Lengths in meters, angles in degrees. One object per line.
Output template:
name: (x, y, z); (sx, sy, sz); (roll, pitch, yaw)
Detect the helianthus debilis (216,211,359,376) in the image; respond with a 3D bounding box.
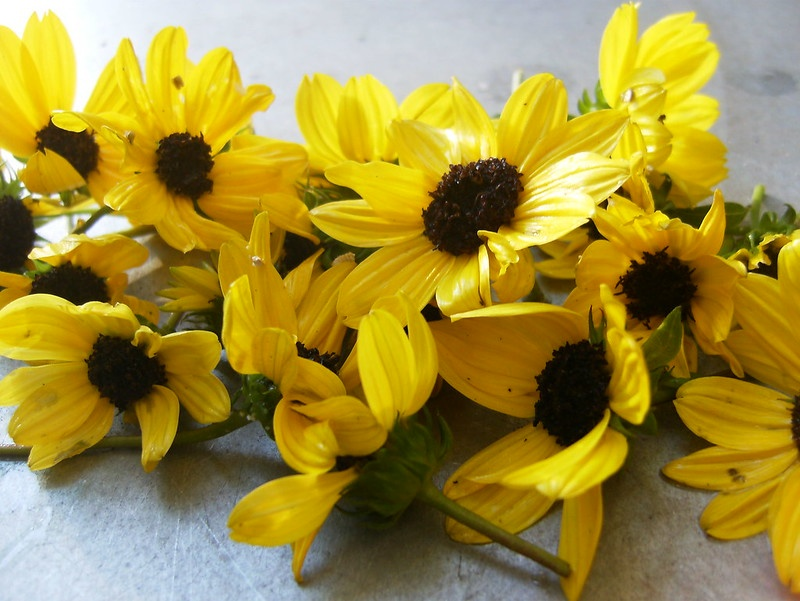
helianthus debilis: (-0.118, 0.009, 0.818); (0.144, 0.145, 0.065); (58, 13, 21)

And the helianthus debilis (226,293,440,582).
helianthus debilis: (-0.053, 0.101, 0.718); (0.175, 0.181, 0.122); (3, 33, -7)

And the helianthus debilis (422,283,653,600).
helianthus debilis: (0.115, 0.092, 0.753); (0.156, 0.250, 0.201); (1, 33, -9)
